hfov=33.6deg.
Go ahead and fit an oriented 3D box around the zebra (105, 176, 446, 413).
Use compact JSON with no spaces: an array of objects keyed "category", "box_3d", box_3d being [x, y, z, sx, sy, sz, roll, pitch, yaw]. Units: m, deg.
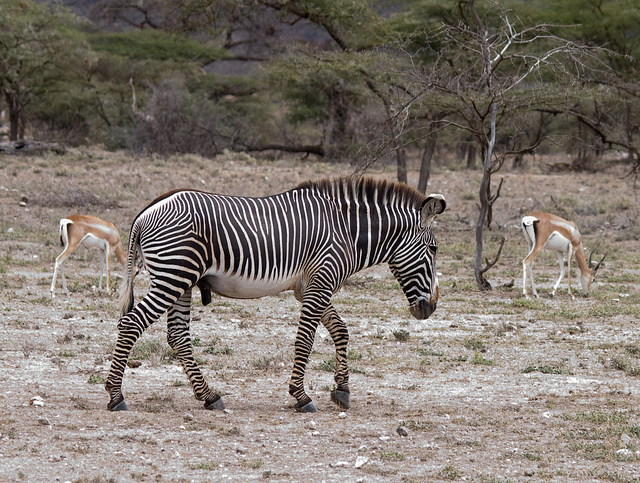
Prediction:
[{"category":"zebra","box_3d":[-1.047,1.224,24.172,7.542,5.965,2.220,3,4,-15]}]
